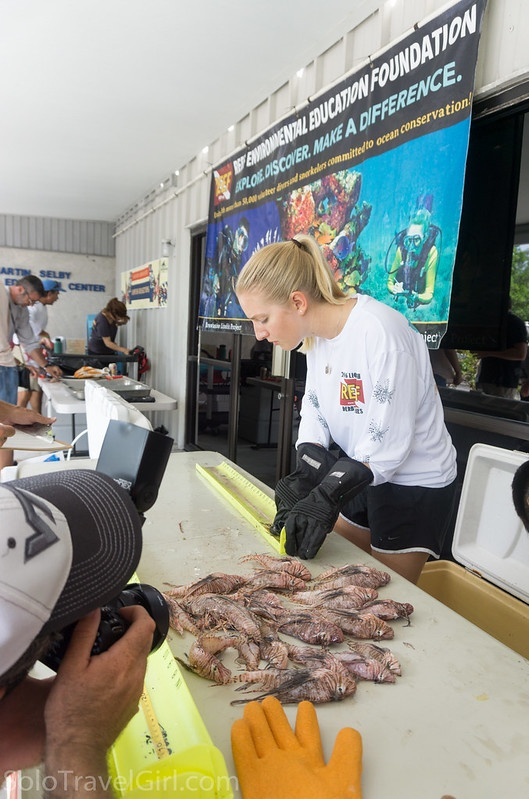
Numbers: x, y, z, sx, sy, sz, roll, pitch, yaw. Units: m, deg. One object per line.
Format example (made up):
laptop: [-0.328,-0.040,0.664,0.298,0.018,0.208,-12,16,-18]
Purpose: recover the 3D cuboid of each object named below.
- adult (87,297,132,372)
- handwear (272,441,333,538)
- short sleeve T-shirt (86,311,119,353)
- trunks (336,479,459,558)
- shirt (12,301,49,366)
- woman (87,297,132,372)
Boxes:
adult: [-2.077,-0.955,6.923,0.519,0.718,0.818,-2,9,-19]
handwear: [0.112,0.264,1.584,0.079,0.149,0.248,35,48,7]
short sleeve T-shirt: [-2.190,-0.863,7.173,0.424,0.783,0.628,-2,23,-24]
trunks: [0.424,0.380,1.681,0.156,0.288,0.290,10,4,-27]
shirt: [-2.451,-0.693,5.493,0.239,0.334,0.853,27,-26,-29]
woman: [-2.077,-0.955,6.923,0.519,0.718,0.818,-2,9,-19]
